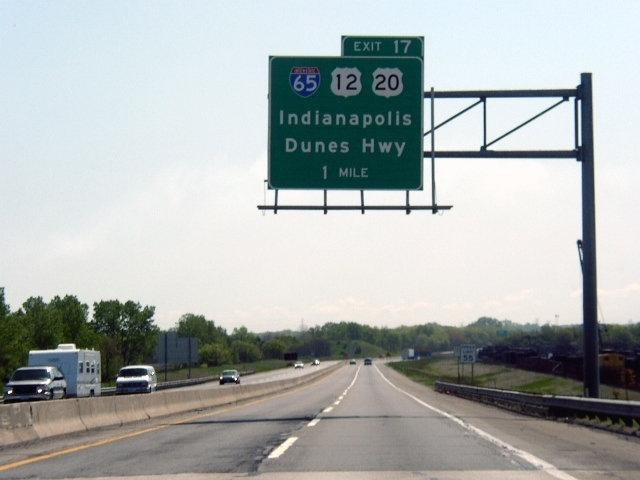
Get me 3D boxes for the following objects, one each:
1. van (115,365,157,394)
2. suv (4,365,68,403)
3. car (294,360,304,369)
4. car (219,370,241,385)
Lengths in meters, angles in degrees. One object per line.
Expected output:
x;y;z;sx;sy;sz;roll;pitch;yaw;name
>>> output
-11.687;8.836;51.918;2.053;1.965;2.935;-4;-12;-6;van
-14.482;7.978;42.393;1.828;1.898;3.902;-2;-13;4;suv
-3.992;23.212;152.195;1.024;1.151;2.129;-1;-9;1;car
-8.827;13.383;79.573;1.060;1.235;2.132;-1;-9;4;car
